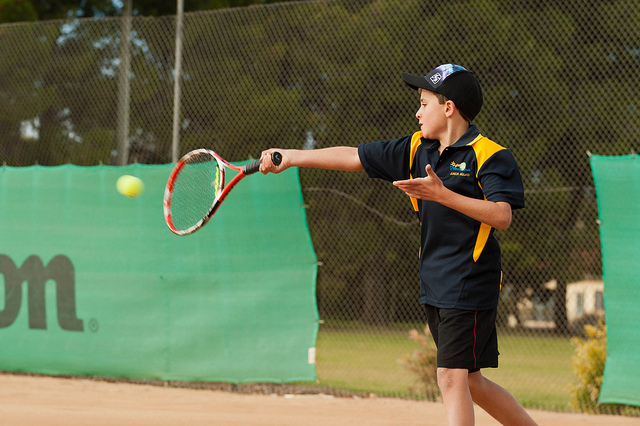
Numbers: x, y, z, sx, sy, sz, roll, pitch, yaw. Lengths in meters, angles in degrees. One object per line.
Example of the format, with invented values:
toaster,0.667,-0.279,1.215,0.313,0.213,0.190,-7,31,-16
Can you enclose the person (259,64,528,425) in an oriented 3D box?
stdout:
person,0.775,0.203,5.477,1.497,1.896,0.618,5,2,17

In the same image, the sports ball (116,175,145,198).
sports ball,-1.731,-0.243,7.115,0.279,0.200,0.076,5,3,22
